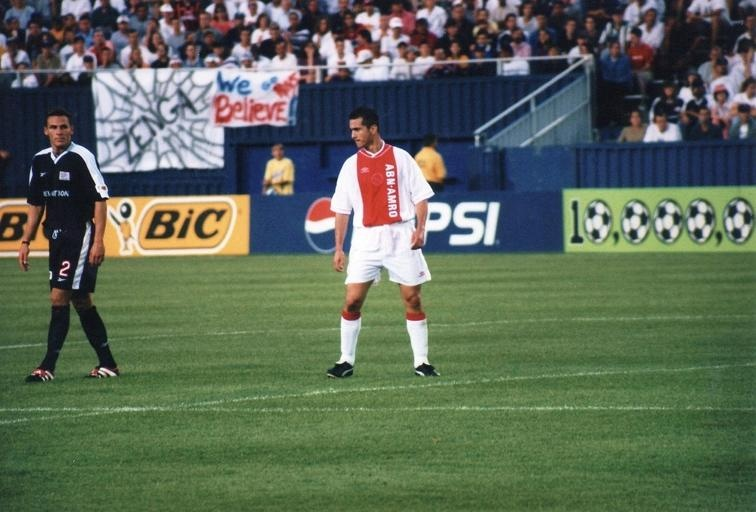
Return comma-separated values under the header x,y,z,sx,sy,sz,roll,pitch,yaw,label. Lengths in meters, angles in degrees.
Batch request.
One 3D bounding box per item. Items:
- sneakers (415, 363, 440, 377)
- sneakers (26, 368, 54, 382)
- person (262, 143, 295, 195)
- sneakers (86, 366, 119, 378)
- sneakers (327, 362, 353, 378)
x,y,z,sx,sy,sz,roll,pitch,yaw,label
0.881,1.936,33.384,0.477,0.207,0.184,-1,-5,20,sneakers
-5.910,2.024,33.402,0.407,0.167,0.220,6,-5,-30,sneakers
-2.437,-2.226,46.891,0.726,1.186,0.512,0,7,0,person
-4.832,1.989,33.646,0.600,0.245,0.201,4,-2,-1,sneakers
-0.636,1.939,33.497,0.426,0.221,0.230,1,1,-5,sneakers
